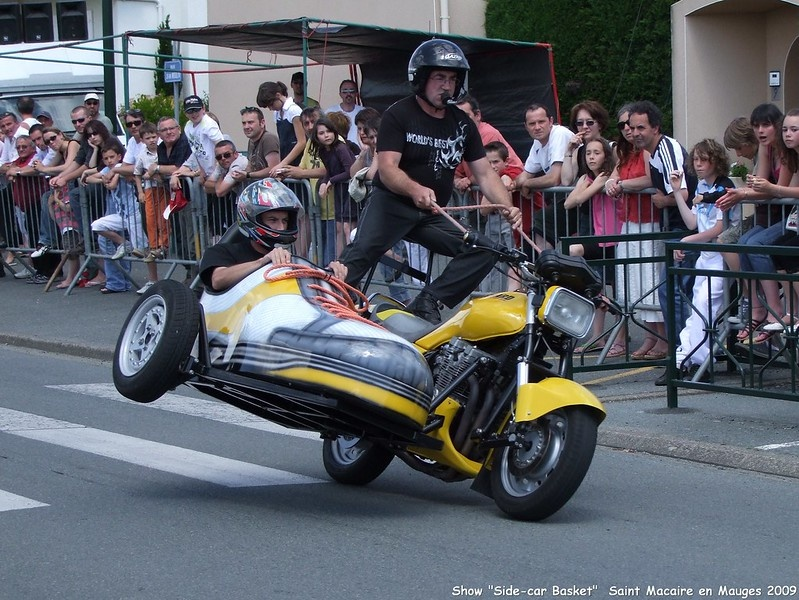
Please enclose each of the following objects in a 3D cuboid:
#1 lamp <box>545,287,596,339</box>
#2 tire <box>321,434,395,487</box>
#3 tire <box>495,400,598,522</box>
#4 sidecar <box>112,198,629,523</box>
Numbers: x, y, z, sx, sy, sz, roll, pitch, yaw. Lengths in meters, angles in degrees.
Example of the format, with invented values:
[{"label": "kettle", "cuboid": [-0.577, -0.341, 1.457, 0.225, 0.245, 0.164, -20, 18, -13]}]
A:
[{"label": "lamp", "cuboid": [0.935, 0.070, 5.331, 0.299, 0.231, 0.102, 29, -19, -22]}, {"label": "tire", "cuboid": [-0.265, 1.015, 6.154, 0.407, 0.385, 0.162, -8, -17, 45]}, {"label": "tire", "cuboid": [0.781, 0.861, 5.316, 0.186, 0.533, 0.633, 26, -26, -28]}, {"label": "sidecar", "cuboid": [-0.155, 0.443, 5.753, 2.714, 1.663, 0.885, 1, 11, 14]}]
